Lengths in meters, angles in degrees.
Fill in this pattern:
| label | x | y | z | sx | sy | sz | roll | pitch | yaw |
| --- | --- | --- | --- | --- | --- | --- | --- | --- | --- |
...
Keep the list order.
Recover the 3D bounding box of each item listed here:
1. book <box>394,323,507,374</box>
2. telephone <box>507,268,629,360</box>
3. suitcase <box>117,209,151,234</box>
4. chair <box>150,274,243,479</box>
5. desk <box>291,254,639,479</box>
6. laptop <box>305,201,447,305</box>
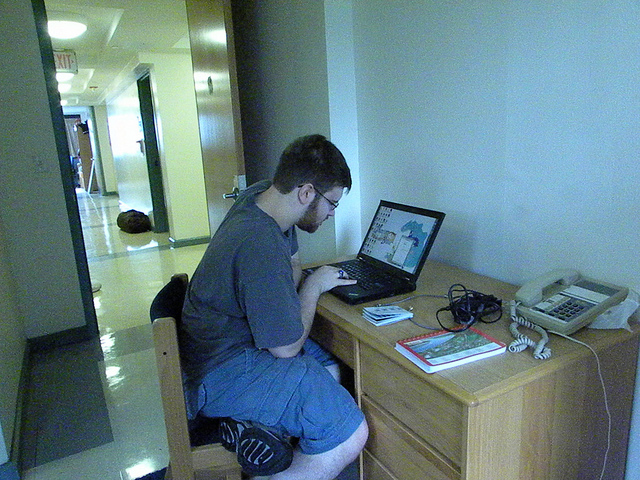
| label | x | y | z | sx | sy | sz | roll | pitch | yaw |
| --- | --- | --- | --- | --- | --- | --- | --- | --- | --- |
| book | 0.409 | 0.335 | 1.553 | 0.208 | 0.035 | 0.155 | -11 | 19 | -17 |
| telephone | 0.765 | 0.223 | 1.626 | 0.442 | 0.094 | 0.237 | -25 | 28 | -23 |
| suitcase | -2.760 | -0.279 | 7.259 | 0.354 | 0.289 | 0.438 | -14 | 19 | -39 |
| chair | -0.460 | 0.513 | 1.796 | 0.236 | 0.653 | 0.383 | -7 | 16 | -19 |
| desk | 0.528 | 0.553 | 1.866 | 0.873 | 0.686 | 0.818 | -8 | 16 | -23 |
| laptop | 0.202 | 0.028 | 2.096 | 0.490 | 0.297 | 0.511 | -8 | 15 | -14 |
